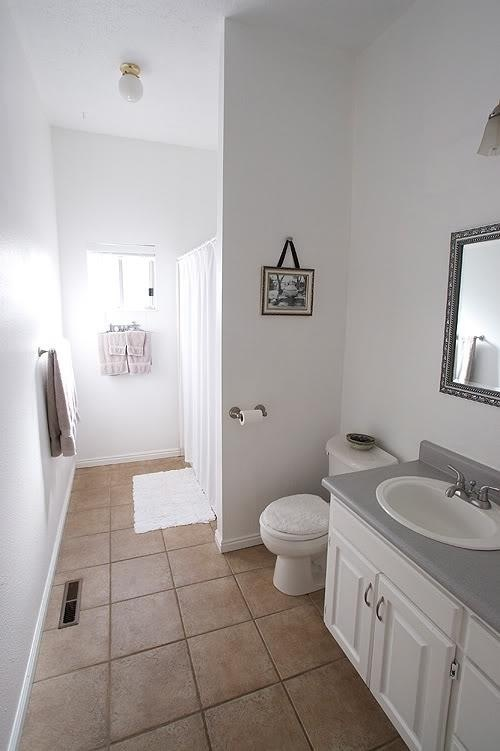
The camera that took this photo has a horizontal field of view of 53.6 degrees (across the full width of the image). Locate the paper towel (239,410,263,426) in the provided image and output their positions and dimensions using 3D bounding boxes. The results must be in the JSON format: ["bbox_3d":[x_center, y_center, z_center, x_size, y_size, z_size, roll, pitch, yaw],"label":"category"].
[{"bbox_3d":[0.010,0.218,2.498,0.121,0.099,0.139,-1,11,-4],"label":"paper towel"}]

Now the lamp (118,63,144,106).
[{"bbox_3d":[-0.610,-1.482,2.538,0.114,0.167,0.211,-3,11,-15],"label":"lamp"}]

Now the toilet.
[{"bbox_3d":[0.299,0.661,2.324,0.509,0.707,0.372,-3,19,-8],"label":"toilet"}]

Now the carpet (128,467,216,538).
[{"bbox_3d":[-0.533,0.801,3.295,0.485,0.028,0.881,-3,12,-16],"label":"carpet"}]

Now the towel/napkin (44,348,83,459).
[{"bbox_3d":[-0.993,0.130,2.627,0.117,0.549,0.627,-3,8,-15],"label":"towel/napkin"}]

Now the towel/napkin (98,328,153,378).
[{"bbox_3d":[-0.941,-0.174,3.681,0.273,0.309,0.042,-5,11,-27],"label":"towel/napkin"}]

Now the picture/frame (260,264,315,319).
[{"bbox_3d":[0.178,-0.430,2.506,0.216,0.233,0.018,-4,13,-26],"label":"picture/frame"}]
